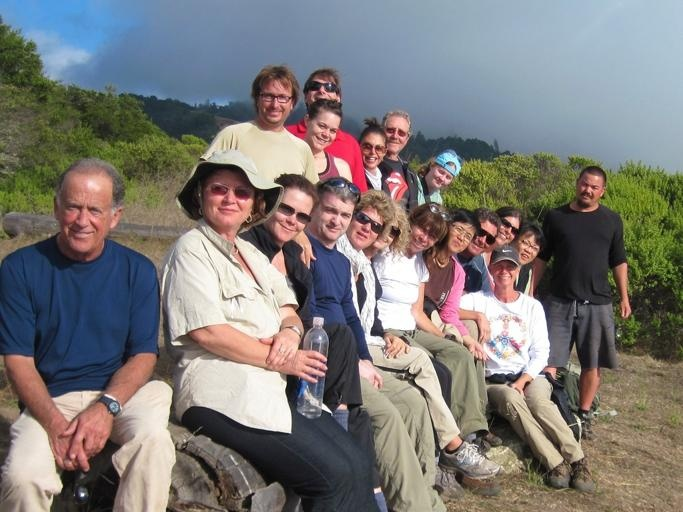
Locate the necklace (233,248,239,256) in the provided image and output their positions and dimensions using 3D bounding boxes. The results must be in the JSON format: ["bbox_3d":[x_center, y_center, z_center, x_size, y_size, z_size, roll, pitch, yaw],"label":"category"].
[{"bbox_3d":[-0.890,-0.035,4.878,0.043,0.049,0.010,16,19,37],"label":"necklace"}]

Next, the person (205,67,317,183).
[{"bbox_3d":[-0.789,-1.446,6.509,1.352,1.412,0.551,9,-10,-24],"label":"person"}]

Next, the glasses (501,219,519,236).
[{"bbox_3d":[2.331,-0.399,7.982,0.349,0.241,0.111,-3,10,-44],"label":"glasses"}]

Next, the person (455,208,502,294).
[{"bbox_3d":[1.742,-0.036,7.416,0.678,1.284,0.389,15,-19,-28],"label":"person"}]

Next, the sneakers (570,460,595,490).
[{"bbox_3d":[2.664,2.432,6.378,0.297,0.298,0.186,2,8,-10],"label":"sneakers"}]

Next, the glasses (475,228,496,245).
[{"bbox_3d":[1.918,-0.253,7.682,0.218,0.076,0.222,32,-31,-30],"label":"glasses"}]

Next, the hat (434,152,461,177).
[{"bbox_3d":[1.623,-1.410,8.702,0.476,0.382,0.256,-1,9,-35],"label":"hat"}]

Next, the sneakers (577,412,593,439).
[{"bbox_3d":[3.139,2.203,7.466,0.118,0.186,0.407,6,44,8],"label":"sneakers"}]

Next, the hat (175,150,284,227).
[{"bbox_3d":[-0.889,-0.465,4.839,0.537,0.342,0.715,-3,-13,9],"label":"hat"}]

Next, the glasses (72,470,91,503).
[{"bbox_3d":[-1.911,1.706,4.259,0.103,0.275,0.091,-1,9,-31],"label":"glasses"}]
